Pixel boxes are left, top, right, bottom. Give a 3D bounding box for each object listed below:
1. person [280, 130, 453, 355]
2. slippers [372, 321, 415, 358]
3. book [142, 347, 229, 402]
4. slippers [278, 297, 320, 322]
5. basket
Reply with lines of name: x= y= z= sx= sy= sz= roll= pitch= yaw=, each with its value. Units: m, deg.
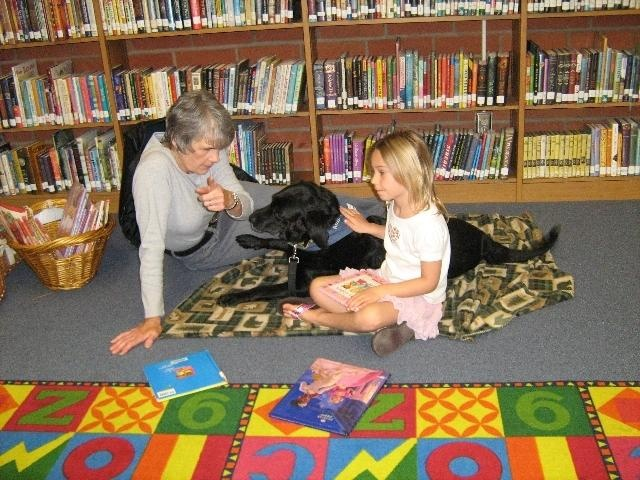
person: x=0.242 y=-0.001 z=2.191 sx=0.614 sy=0.949 sz=0.522 roll=17 pitch=33 yaw=42
slippers: x=0.340 y=0.460 z=2.273 sx=0.144 sy=0.103 sz=0.344 roll=-15 pitch=-8 yaw=5
book: x=-0.585 y=0.591 z=2.068 sx=0.290 sy=0.038 sz=0.276 roll=-13 pitch=22 yaw=-25
slippers: x=-0.096 y=0.343 z=2.407 sx=0.218 sy=0.075 sz=0.073 roll=0 pitch=7 yaw=0
basket: x=-1.508 y=0.127 z=2.905 sx=0.500 sy=0.281 sz=0.446 roll=-1 pitch=4 yaw=-19
